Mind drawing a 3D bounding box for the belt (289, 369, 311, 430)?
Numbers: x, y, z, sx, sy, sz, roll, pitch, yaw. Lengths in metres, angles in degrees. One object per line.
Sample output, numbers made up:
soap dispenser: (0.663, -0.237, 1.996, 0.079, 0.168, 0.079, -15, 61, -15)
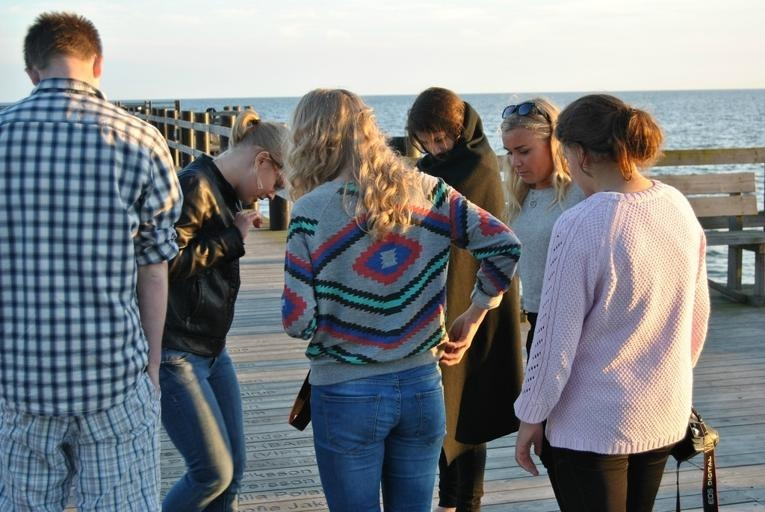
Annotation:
belt: (-0.375, 0.659, 5.056, 0.068, 0.267, 0.154, 20, 15, 1)
